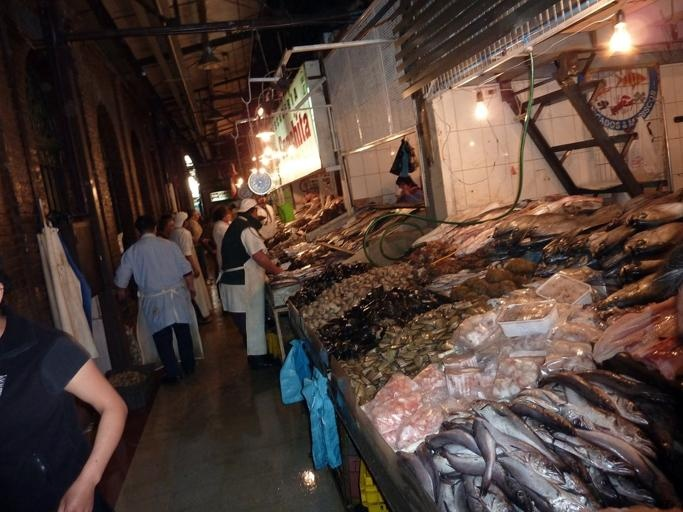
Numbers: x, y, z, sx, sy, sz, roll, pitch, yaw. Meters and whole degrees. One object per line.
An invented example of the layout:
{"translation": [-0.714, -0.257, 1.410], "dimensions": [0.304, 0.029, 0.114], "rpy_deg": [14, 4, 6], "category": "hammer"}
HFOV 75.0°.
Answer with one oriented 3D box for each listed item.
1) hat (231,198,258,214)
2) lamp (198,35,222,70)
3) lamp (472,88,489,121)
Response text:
{"translation": [-1.212, -0.659, 5.797], "dimensions": [0.202, 0.090, 0.233], "rpy_deg": [-17, 11, 5], "category": "hat"}
{"translation": [-2.123, -3.189, 7.158], "dimensions": [0.365, 0.384, 0.375], "rpy_deg": [-8, -6, -19], "category": "lamp"}
{"translation": [1.507, -1.620, 4.808], "dimensions": [0.155, 0.317, 0.343], "rpy_deg": [-4, 11, 18], "category": "lamp"}
